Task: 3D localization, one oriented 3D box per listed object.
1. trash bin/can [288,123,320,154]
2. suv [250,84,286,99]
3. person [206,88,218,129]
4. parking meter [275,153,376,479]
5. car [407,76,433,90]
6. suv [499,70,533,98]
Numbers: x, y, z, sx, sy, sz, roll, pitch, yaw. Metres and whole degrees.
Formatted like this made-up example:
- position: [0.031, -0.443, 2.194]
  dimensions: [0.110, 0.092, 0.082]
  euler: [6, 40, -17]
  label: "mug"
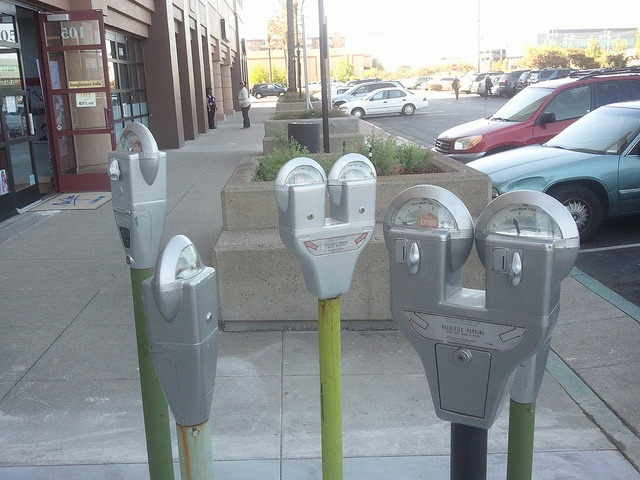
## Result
- position: [-0.333, -1.945, 10.761]
  dimensions: [0.569, 0.512, 0.846]
  euler: [-12, 20, -28]
  label: "trash bin/can"
- position: [-5.055, -13.983, 53.277]
  dimensions: [2.949, 1.254, 1.654]
  euler: [-5, 18, -7]
  label: "suv"
- position: [-4.294, -5.172, 22.181]
  dimensions: [0.330, 1.599, 1.543]
  euler: [-5, 18, -10]
  label: "person"
- position: [0.060, 0.413, 2.995]
  dimensions: [0.532, 1.668, 0.464]
  euler: [-3, 16, -4]
  label: "parking meter"
- position: [10.182, -15.557, 57.448]
  dimensions: [2.455, 0.983, 1.262]
  euler: [-15, 25, 6]
  label: "car"
- position: [11.750, -9.279, 34.057]
  dimensions: [2.042, 1.157, 1.291]
  euler: [-12, 22, -1]
  label: "suv"
